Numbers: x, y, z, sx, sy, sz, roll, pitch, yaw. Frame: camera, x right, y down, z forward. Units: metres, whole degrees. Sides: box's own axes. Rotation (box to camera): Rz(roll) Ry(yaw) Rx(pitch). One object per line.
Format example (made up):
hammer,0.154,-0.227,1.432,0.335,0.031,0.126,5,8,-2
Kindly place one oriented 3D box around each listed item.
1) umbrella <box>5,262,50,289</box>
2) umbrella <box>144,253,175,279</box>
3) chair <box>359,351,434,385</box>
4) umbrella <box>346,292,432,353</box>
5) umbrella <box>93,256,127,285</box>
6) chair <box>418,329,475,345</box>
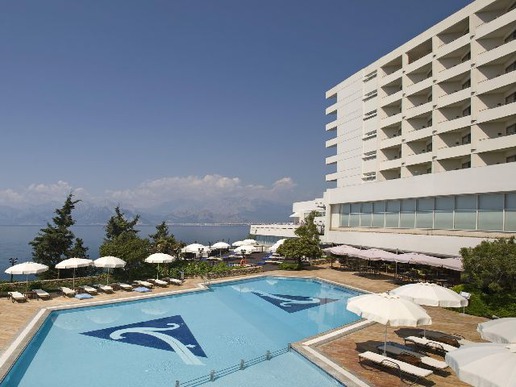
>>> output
umbrella,-17.391,6.252,27.512,2.258,1.280,2.154,-5,-9,44
umbrella,-9.122,7.021,34.494,3.212,2.642,2.939,1,-4,-20
chair,6.933,8.729,18.423,3.508,0.570,1.365,1,1,39
umbrella,6.813,7.035,19.561,3.796,2.141,3.386,3,9,-1
umbrella,-13.024,6.797,31.824,3.272,2.811,2.985,2,6,-20
chair,10.830,8.446,21.105,1.048,0.422,2.112,2,-4,-40
